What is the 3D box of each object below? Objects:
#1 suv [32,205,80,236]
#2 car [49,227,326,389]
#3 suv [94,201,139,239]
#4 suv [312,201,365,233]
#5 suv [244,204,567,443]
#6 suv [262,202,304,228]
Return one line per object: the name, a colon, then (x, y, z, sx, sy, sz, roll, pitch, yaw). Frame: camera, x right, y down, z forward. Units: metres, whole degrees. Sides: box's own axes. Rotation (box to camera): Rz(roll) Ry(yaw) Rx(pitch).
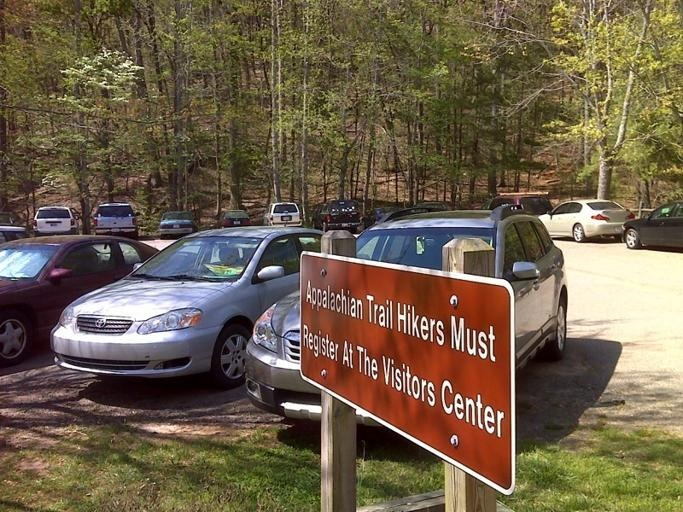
suv: (-13.827, -1.762, 28.288, 1.681, 1.430, 2.826, -1, -3, -21)
car: (-1.821, 0.649, 7.931, 2.027, 1.404, 3.379, -2, -2, 35)
suv: (-11.251, -1.852, 29.079, 1.327, 1.076, 2.345, -1, 7, -6)
suv: (-0.426, -2.245, 31.308, 1.670, 1.322, 3.379, -2, 9, -15)
suv: (1.132, 0.473, 6.669, 1.984, 1.521, 4.059, -2, -2, 43)
suv: (-3.099, -2.186, 30.623, 1.288, 1.107, 2.276, -1, 10, -6)
